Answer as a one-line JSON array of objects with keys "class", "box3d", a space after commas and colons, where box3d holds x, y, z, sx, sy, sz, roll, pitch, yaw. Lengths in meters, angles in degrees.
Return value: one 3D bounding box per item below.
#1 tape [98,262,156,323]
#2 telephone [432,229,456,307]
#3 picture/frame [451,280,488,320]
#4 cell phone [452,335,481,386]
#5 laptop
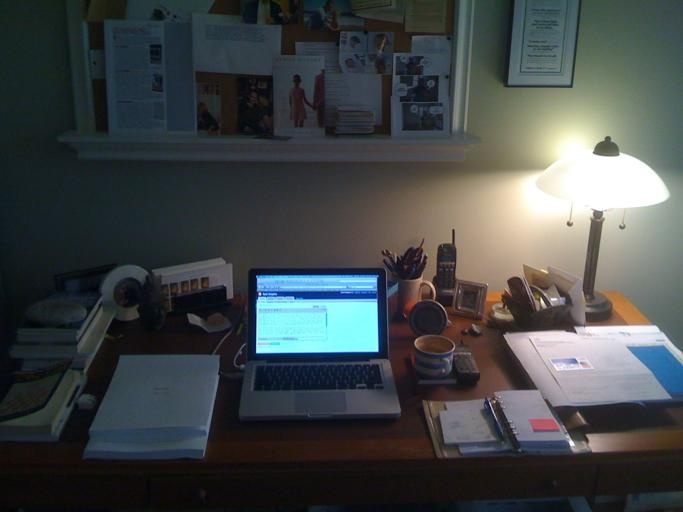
[{"class": "tape", "box3d": [-0.804, 0.126, 2.028, 0.052, 0.204, 0.203, 7, 61, 57]}, {"class": "telephone", "box3d": [0.419, 0.033, 2.165, 0.116, 0.293, 0.160, 4, 13, 16]}, {"class": "picture/frame", "box3d": [0.494, 0.170, 2.109, 0.128, 0.150, 0.016, 8, -2, 17]}, {"class": "cell phone", "box3d": [0.409, 0.341, 1.785, 0.076, 0.040, 0.170, -2, 26, 2]}, {"class": "laptop", "box3d": [-0.081, 0.292, 1.773, 0.479, 0.305, 0.441, -1, 27, -2]}]
